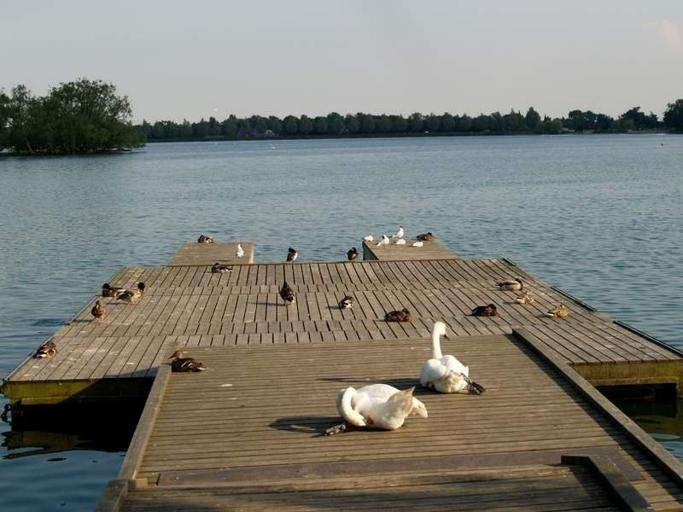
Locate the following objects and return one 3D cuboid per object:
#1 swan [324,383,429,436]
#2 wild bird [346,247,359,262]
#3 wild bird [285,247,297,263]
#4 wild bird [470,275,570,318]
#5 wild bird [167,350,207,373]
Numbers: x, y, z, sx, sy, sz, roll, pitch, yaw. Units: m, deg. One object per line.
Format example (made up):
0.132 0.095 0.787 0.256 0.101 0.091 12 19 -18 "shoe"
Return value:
0.680 3.079 12.774 2.125 1.136 1.487 -2 9 -8 "swan"
0.501 -0.024 29.513 0.457 0.275 0.690 4 25 1 "wild bird"
-2.463 -0.040 31.799 0.341 0.649 0.451 8 25 -4 "wild bird"
5.734 1.408 20.825 1.738 0.376 1.604 1 8 -1 "wild bird"
-3.630 2.481 15.441 0.924 0.360 0.552 -2 15 -1 "wild bird"
